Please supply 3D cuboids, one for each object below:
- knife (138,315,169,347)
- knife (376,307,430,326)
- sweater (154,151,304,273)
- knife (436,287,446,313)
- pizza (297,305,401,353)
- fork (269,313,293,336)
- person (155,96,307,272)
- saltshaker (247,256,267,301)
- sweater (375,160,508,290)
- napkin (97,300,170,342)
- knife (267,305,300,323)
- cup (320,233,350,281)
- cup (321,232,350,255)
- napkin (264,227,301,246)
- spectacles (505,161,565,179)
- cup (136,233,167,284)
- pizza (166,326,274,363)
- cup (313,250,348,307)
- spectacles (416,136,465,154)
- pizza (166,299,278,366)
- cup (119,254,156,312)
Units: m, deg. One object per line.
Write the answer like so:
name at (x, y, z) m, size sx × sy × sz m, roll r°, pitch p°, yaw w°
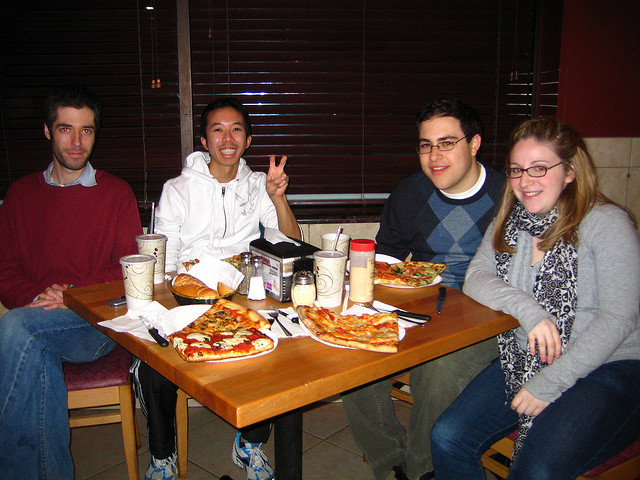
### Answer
knife at (-0.559, 0.302, 1.668) m, size 0.047 × 0.019 × 0.219 m, roll -12°, pitch 28°, yaw -37°
knife at (0.322, 0.271, 1.815) m, size 0.157 × 0.017 × 0.055 m, roll 9°, pitch 32°, yaw 34°
sweater at (-0.407, -0.046, 2.787) m, size 0.784 × 0.695 × 0.407 m, roll -14°, pitch -9°, yaw 38°
knife at (0.474, 0.237, 1.939) m, size 0.043 × 0.011 × 0.238 m, roll 1°, pitch 9°, yaw 17°
pizza at (0.090, 0.296, 1.694) m, size 0.353 × 0.083 × 0.225 m, roll 3°, pitch 13°, yaw 6°
fork at (-0.139, 0.293, 1.739) m, size 0.031 × 0.008 × 0.155 m, roll -6°, pitch 26°, yaw -29°
person at (-0.517, -0.315, 2.656) m, size 0.783 × 1.041 × 0.675 m, roll -10°, pitch 25°, yaw -40°
saltshaker at (-0.242, 0.148, 1.932) m, size 0.073 × 0.166 × 0.072 m, roll 0°, pitch 14°, yaw -6°
sweater at (0.688, -0.086, 2.606) m, size 0.823 × 0.643 × 0.282 m, roll -3°, pitch 49°, yaw 8°
napkin at (-0.623, 0.286, 1.749) m, size 0.145 × 0.024 × 0.149 m, roll 23°, pitch 23°, yaw 20°
knife at (-0.130, 0.271, 1.798) m, size 0.017 × 0.016 × 0.140 m, roll -27°, pitch 32°, yaw -35°
cup at (0.064, 0.078, 2.125) m, size 0.176 × 0.229 × 0.169 m, roll 0°, pitch 8°, yaw 0°
cup at (0.067, 0.012, 2.123) m, size 0.090 × 0.072 × 0.097 m, roll 2°, pitch 8°, yaw 0°
napkin at (-0.156, -0.014, 2.045) m, size 0.142 × 0.052 × 0.177 m, roll 0°, pitch 13°, yaw -6°
spectacles at (0.879, -0.285, 2.019) m, size 0.194 × 0.079 × 0.068 m, roll 9°, pitch 15°, yaw 30°
cup at (-0.713, 0.086, 2.076) m, size 0.138 × 0.180 × 0.145 m, roll -2°, pitch 0°, yaw 0°
pizza at (-0.315, 0.336, 1.590) m, size 0.319 × 0.047 × 0.154 m, roll -3°, pitch 13°, yaw -17°
cup at (0.033, 0.154, 1.907) m, size 0.151 × 0.192 × 0.142 m, roll -3°, pitch 4°, yaw 0°
spectacles at (0.582, -0.458, 2.407) m, size 0.225 × 0.083 × 0.097 m, roll 5°, pitch 14°, yaw 15°
pizza at (-0.302, 0.304, 1.666) m, size 0.322 × 0.039 × 0.364 m, roll 2°, pitch 21°, yaw -1°
cup at (-0.680, 0.170, 1.875) m, size 0.152 × 0.198 × 0.157 m, roll -2°, pitch 3°, yaw 0°
